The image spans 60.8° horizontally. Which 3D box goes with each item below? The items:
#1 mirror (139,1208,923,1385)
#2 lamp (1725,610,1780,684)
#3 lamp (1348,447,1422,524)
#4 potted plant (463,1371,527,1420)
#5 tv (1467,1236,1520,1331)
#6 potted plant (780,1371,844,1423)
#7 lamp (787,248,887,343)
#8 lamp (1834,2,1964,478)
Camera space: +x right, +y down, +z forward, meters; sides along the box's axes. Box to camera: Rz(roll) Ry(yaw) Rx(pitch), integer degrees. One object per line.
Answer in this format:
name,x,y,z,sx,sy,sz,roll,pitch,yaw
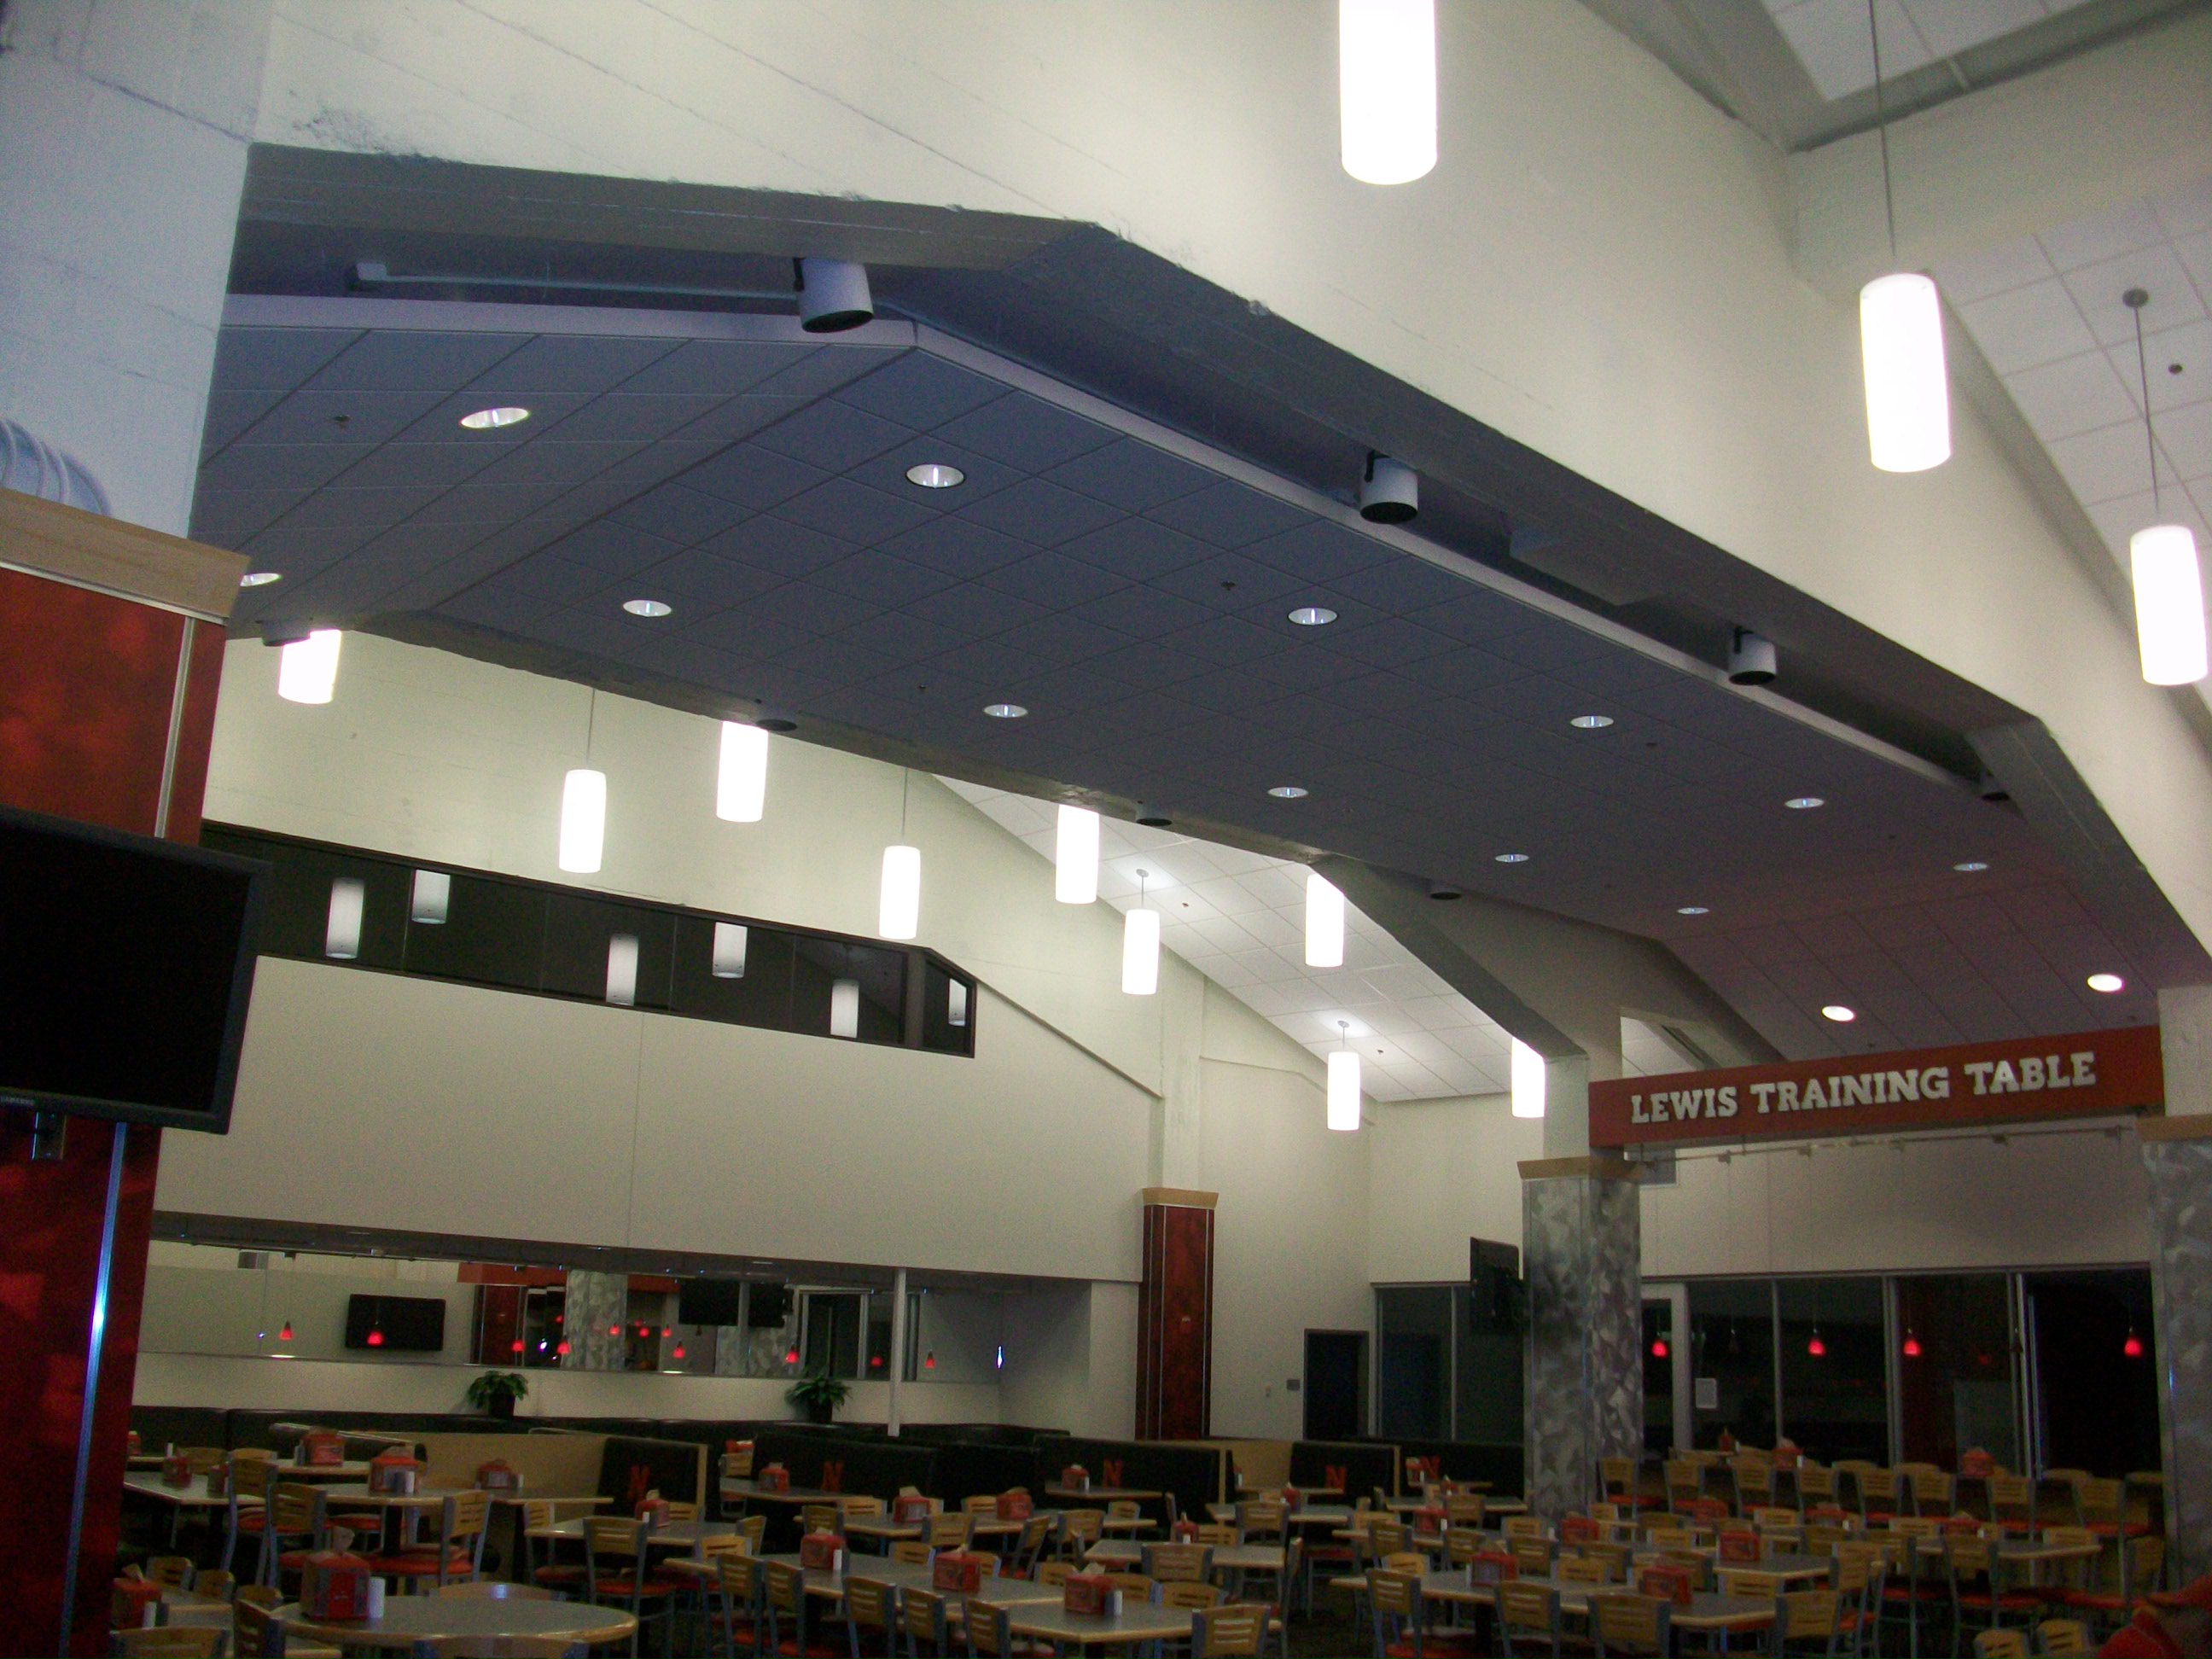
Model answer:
mirror,-5.471,4.697,18.156,6.807,1.039,1.381,9,-19,-27
lamp,3.692,-1.009,10.763,0.249,0.287,0.266,-3,-17,14
lamp,1.334,-1.609,8.894,0.268,0.314,0.279,0,-17,3
potted plant,-5.621,5.166,17.305,0.468,0.327,0.458,6,-10,2
tv,3.460,4.068,16.871,0.355,0.752,0.758,-13,-21,39
potted plant,-3.025,5.874,19.494,0.521,0.464,0.521,2,-18,-3
lamp,-1.012,-1.992,7.022,0.262,0.278,0.278,-3,-25,-11
lamp,3.949,-3.082,9.412,0.301,2.755,0.310,9,-9,-42
